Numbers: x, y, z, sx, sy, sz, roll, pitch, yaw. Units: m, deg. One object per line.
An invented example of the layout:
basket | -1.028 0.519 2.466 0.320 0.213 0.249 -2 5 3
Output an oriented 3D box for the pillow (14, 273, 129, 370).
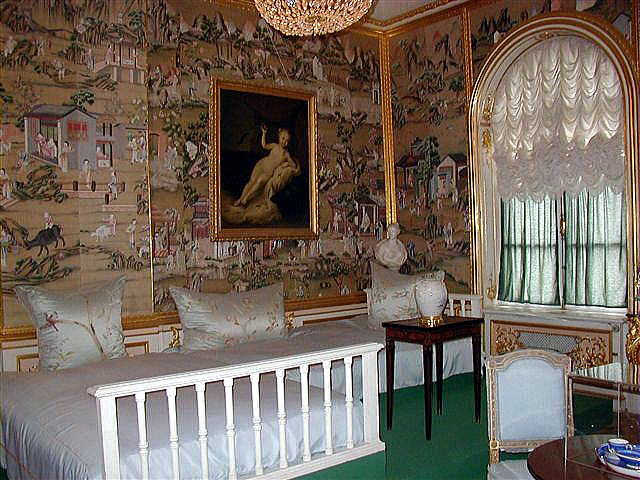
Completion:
pillow | -2.156 0.716 4.786 0.673 0.711 0.263 -6 -29 -31

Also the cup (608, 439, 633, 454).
cup | 1.622 1.104 3.017 0.055 0.031 0.076 -4 5 -28

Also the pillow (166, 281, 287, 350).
pillow | -0.848 0.783 5.630 1.196 0.714 0.420 -2 -15 -29

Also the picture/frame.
picture/frame | -0.691 -0.908 6.214 1.704 2.220 0.151 3 -5 -41

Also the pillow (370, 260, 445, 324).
pillow | 0.787 0.525 6.016 0.568 0.675 0.193 -7 -30 24
